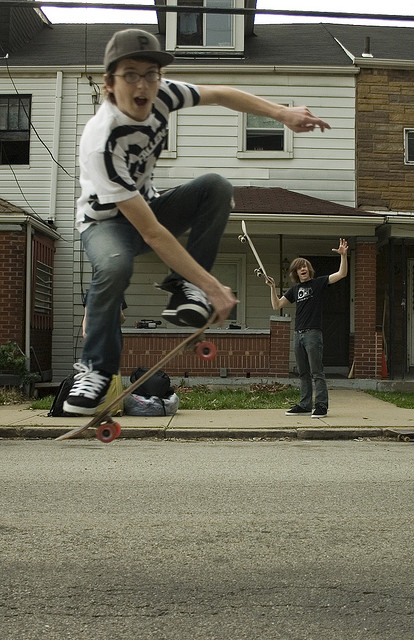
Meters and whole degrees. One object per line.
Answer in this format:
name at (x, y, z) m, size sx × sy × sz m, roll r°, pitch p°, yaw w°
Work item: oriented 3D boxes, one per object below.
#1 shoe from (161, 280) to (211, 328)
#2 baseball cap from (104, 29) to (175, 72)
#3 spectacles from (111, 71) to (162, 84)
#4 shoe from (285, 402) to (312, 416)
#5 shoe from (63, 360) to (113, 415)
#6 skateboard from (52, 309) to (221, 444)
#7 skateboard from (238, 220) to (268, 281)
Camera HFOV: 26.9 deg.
shoe at (-0.111, -0.085, 4.259) m, size 0.190 × 0.237 × 0.401 m, roll 0°, pitch 1°, yaw -20°
baseball cap at (-0.332, -1.279, 3.986) m, size 0.265 × 0.153 × 0.352 m, roll -16°, pitch 25°, yaw -30°
spectacles at (-0.321, -1.108, 3.940) m, size 0.220 × 0.069 × 0.063 m, roll 0°, pitch 1°, yaw -12°
shoe at (1.039, 1.034, 9.909) m, size 0.352 × 0.129 × 0.110 m, roll 3°, pitch -6°, yaw -8°
shoe at (-0.576, 0.324, 4.154) m, size 0.226 × 0.270 × 0.207 m, roll 0°, pitch 1°, yaw -1°
skateboard at (-0.576, 0.602, 8.532) m, size 1.775 × 0.256 × 0.406 m, roll -37°, pitch 1°, yaw -12°
skateboard at (0.713, -1.127, 13.638) m, size 0.177 × 1.161 × 0.215 m, roll -23°, pitch 8°, yaw 24°
